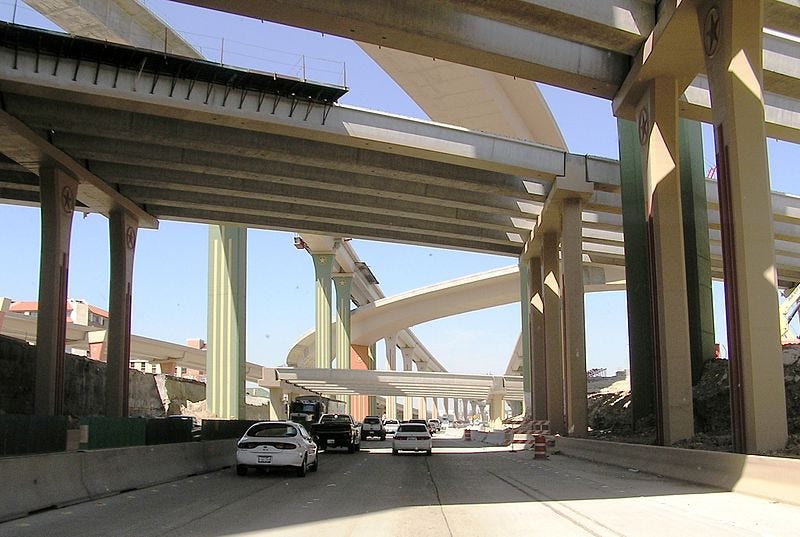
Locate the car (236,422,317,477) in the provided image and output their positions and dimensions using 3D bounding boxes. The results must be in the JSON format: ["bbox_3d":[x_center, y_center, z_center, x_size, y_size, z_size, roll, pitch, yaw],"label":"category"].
[{"bbox_3d":[-3.919,5.967,24.419,1.334,0.998,2.982,0,-7,9],"label":"car"}]

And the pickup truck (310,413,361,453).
[{"bbox_3d":[-3.210,8.836,38.323,1.404,1.243,3.014,0,-5,9],"label":"pickup truck"}]

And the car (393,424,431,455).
[{"bbox_3d":[0.607,8.636,36.123,1.848,1.516,1.813,1,-5,4],"label":"car"}]
